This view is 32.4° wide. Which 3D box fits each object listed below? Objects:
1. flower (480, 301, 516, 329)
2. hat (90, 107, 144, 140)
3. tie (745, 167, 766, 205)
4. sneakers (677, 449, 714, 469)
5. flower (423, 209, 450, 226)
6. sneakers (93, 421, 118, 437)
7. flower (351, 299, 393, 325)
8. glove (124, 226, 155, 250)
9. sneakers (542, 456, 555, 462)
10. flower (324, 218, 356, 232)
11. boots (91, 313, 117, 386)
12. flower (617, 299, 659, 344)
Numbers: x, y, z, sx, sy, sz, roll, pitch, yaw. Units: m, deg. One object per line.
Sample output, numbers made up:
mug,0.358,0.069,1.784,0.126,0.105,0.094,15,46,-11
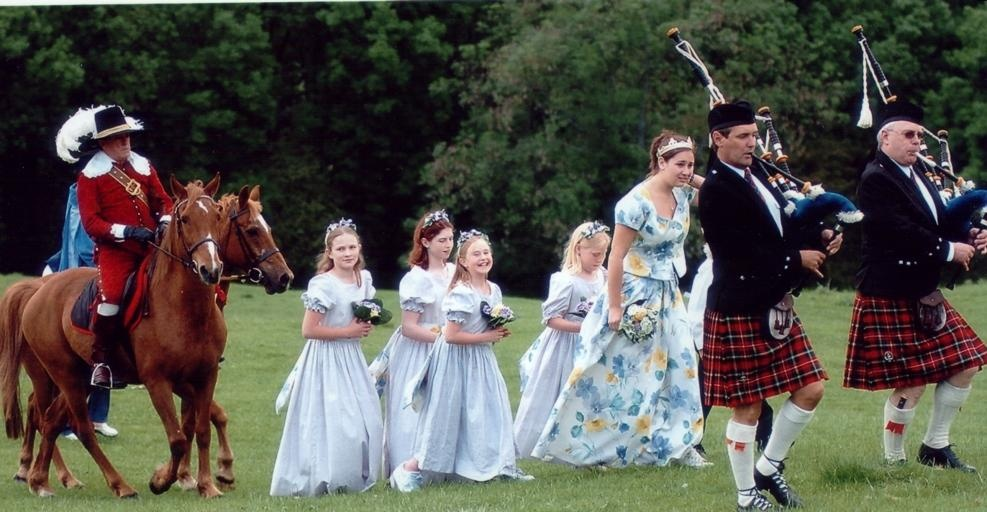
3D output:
flower,0.044,1.017,28.207,0.564,0.334,0.513,10,-6,6
hat,-6.448,-2.253,28.635,1.026,0.335,1.014,-24,18,-35
tie,4.140,-1.077,26.996,0.125,0.784,0.099,-22,-34,-20
sneakers,3.297,3.414,28.037,0.647,0.228,0.269,0,1,1
flower,-0.942,-0.651,28.323,0.365,0.118,0.317,-10,17,20
sneakers,-6.902,3.149,30.231,0.458,0.149,0.204,10,9,-4
flower,-1.976,0.963,28.203,0.490,0.222,0.536,33,17,36
glove,-5.901,-0.292,28.349,0.456,0.188,0.323,26,11,13
sneakers,0.899,3.432,28.151,0.177,0.121,0.117,-14,-1,9
flower,-2.521,-0.497,28.447,0.440,0.131,0.399,-2,-3,14
boots,-6.470,1.605,28.286,0.421,1.255,0.269,3,-2,-10
flower,2.358,1.130,27.849,0.587,0.663,0.232,2,-2,3
